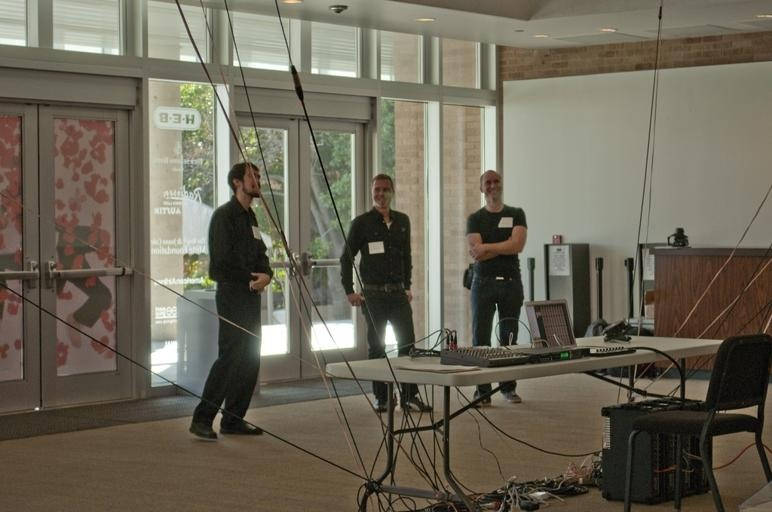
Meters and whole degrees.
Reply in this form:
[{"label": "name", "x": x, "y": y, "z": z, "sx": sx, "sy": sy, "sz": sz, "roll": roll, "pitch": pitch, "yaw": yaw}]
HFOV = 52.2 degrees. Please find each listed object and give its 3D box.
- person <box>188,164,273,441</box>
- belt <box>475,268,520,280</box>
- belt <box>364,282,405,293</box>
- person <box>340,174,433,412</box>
[{"label": "person", "x": -1.288, "y": 0.370, "z": 6.586, "sx": 0.655, "sy": 2.295, "sz": 0.753, "roll": -1, "pitch": 6, "yaw": -9}, {"label": "belt", "x": 1.072, "y": 0.188, "z": 7.568, "sx": 0.435, "sy": 0.083, "sz": 0.110, "roll": 1, "pitch": 6, "yaw": 4}, {"label": "belt", "x": -0.012, "y": 0.292, "z": 7.342, "sx": 0.376, "sy": 0.085, "sz": 0.149, "roll": 1, "pitch": 6, "yaw": 5}, {"label": "person", "x": -0.033, "y": 0.279, "z": 7.528, "sx": 0.785, "sy": 2.226, "sz": 0.498, "roll": -7, "pitch": 30, "yaw": -13}]
